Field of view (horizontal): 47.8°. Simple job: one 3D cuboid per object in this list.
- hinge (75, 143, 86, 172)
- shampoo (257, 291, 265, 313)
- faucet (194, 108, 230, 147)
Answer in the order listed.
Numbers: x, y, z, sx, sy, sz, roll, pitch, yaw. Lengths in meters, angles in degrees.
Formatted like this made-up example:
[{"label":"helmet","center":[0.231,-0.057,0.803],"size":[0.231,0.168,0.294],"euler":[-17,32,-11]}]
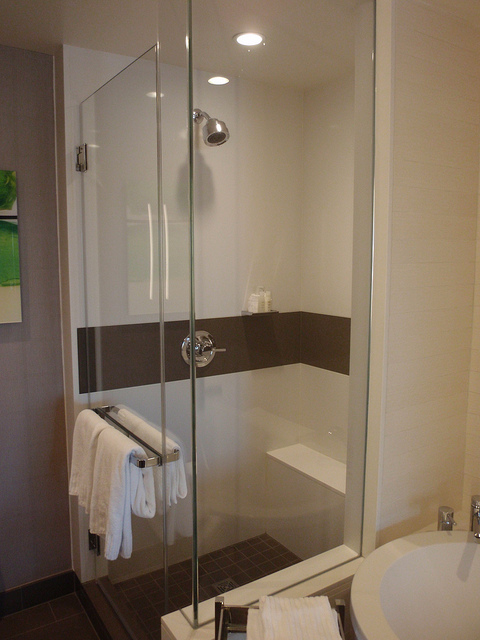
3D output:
[{"label":"hinge","center":[-0.547,-0.564,1.866],"size":[0.012,0.156,0.067],"euler":[-5,14,-29]},{"label":"shampoo","center":[0.056,-0.048,1.460],"size":[0.007,0.060,0.026],"euler":[5,9,45]},{"label":"faucet","center":[-0.069,-0.465,1.301],"size":[0.043,0.073,0.087],"euler":[-24,33,-10]}]
